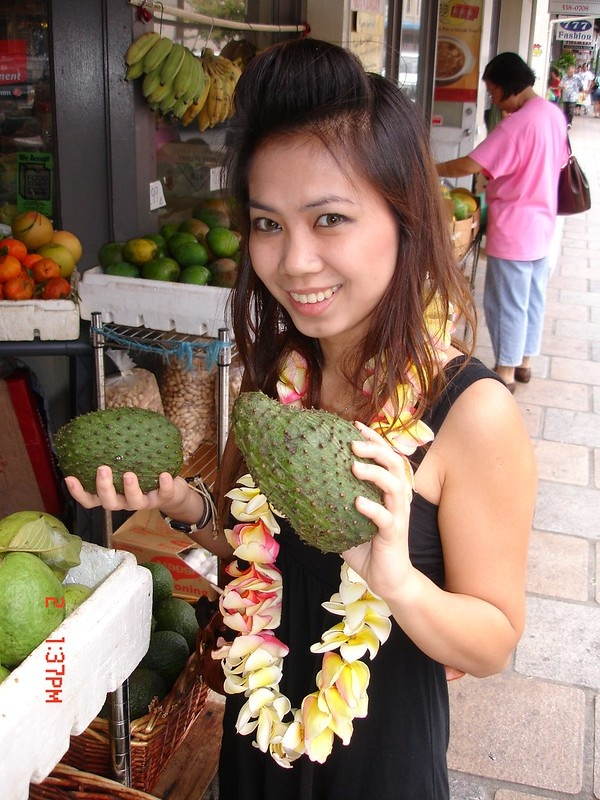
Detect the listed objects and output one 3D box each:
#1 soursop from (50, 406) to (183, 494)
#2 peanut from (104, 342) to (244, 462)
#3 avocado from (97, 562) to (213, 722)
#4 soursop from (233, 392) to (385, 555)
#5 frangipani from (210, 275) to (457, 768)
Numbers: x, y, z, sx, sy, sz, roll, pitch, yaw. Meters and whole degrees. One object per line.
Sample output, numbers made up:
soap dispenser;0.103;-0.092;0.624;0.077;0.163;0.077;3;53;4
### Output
soursop;-0.346;0.110;1.197;0.229;0.171;0.164;-3;-12;-29
peanut;-0.576;-0.033;2.860;0.643;0.533;0.486;-6;18;-13
avocado;-0.360;0.613;1.684;0.359;0.442;0.399;3;-10;-3
soursop;0.006;0.086;0.832;0.220;0.117;0.147;36;8;7
frangipani;0.022;0.236;1.109;0.381;0.921;0.208;5;13;10
